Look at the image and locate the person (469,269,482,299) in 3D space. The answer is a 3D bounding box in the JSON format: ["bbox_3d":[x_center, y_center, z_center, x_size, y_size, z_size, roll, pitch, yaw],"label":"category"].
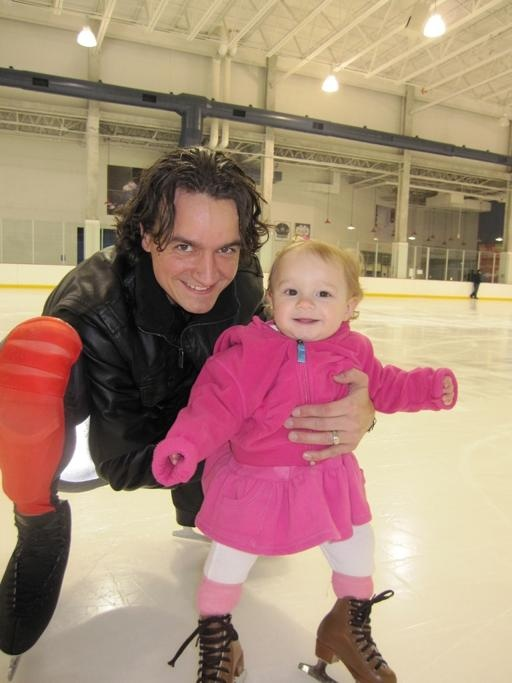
[{"bbox_3d":[6.123,-1.640,15.428,0.293,0.883,0.729,7,7,20],"label":"person"}]

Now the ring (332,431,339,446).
[{"bbox_3d":[0.135,0.165,0.940,0.017,0.020,0.023,-3,-27,0],"label":"ring"}]

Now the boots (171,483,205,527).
[{"bbox_3d":[-0.166,0.384,1.322,0.079,0.094,0.102,-1,-8,-2],"label":"boots"}]
